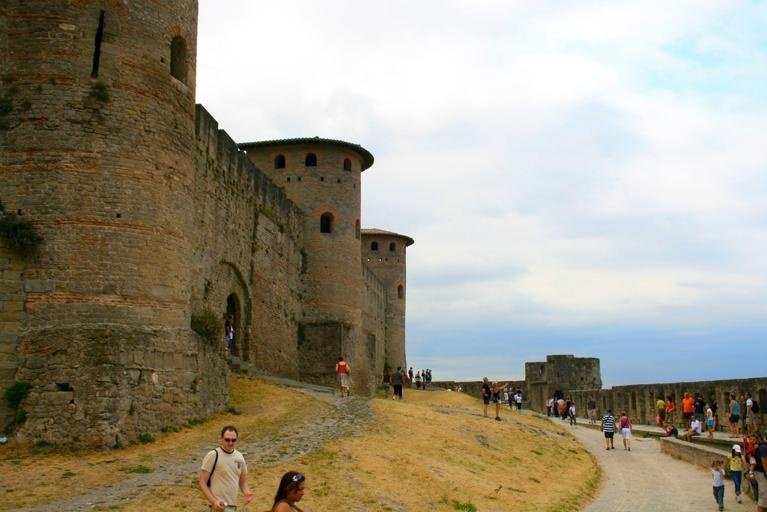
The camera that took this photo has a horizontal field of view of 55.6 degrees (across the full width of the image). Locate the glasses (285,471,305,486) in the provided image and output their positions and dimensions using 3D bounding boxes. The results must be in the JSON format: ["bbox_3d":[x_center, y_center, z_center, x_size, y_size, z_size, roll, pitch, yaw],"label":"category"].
[{"bbox_3d":[-1.340,3.351,11.013,0.211,0.063,0.215,8,-38,-18],"label":"glasses"}]

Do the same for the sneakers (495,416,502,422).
[{"bbox_3d":[4.613,6.541,29.156,0.149,0.217,0.226,-8,-20,2],"label":"sneakers"}]

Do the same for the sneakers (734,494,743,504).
[{"bbox_3d":[9.885,6.781,20.240,0.129,0.165,0.390,-2,-11,-1],"label":"sneakers"}]
